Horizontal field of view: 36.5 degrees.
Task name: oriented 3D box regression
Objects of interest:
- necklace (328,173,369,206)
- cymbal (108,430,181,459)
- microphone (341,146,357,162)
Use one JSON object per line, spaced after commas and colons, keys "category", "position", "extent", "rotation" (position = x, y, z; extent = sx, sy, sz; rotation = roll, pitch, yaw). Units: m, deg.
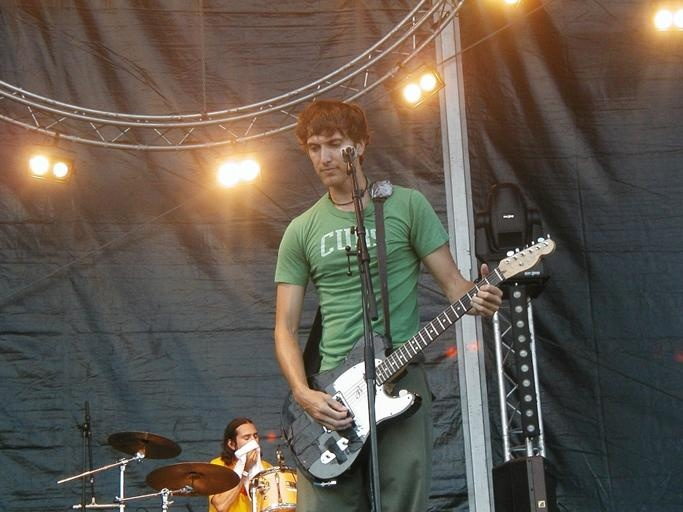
{"category": "necklace", "position": [0.054, -0.392, 6.157], "extent": [0.240, 0.150, 0.237], "rotation": [-8, -1, 0]}
{"category": "cymbal", "position": [-1.554, 1.454, 8.232], "extent": [0.611, 0.230, 0.547], "rotation": [1, -4, -27]}
{"category": "microphone", "position": [0.055, -0.614, 6.153], "extent": [0.092, 0.121, 0.094], "rotation": [-11, -35, 0]}
